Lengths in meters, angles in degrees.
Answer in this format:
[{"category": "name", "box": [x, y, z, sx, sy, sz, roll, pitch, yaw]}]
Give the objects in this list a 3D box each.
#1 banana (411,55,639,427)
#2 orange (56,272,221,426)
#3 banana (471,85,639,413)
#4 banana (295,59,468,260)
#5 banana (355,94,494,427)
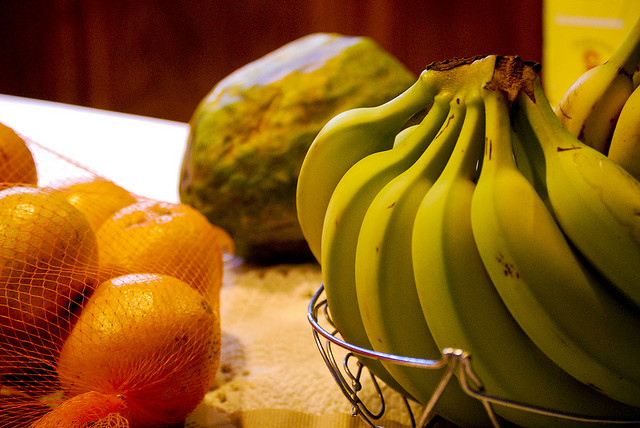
[{"category": "banana", "box": [0.169, 0.029, 0.616, 0.072, 0.309, 0.225, -12, -3, -3]}, {"category": "orange", "box": [-0.202, 0.152, 0.690, 0.174, 0.124, 0.114, -5, 34, -11]}, {"category": "banana", "box": [0.193, -0.005, 0.616, 0.086, 0.119, 0.349, -13, 71, -24]}, {"category": "banana", "box": [0.070, -0.066, 0.698, 0.124, 0.230, 0.060, 38, 7, 9]}, {"category": "banana", "box": [0.075, 0.048, 0.591, 0.065, 0.276, 0.199, -3, -2, 1]}]
